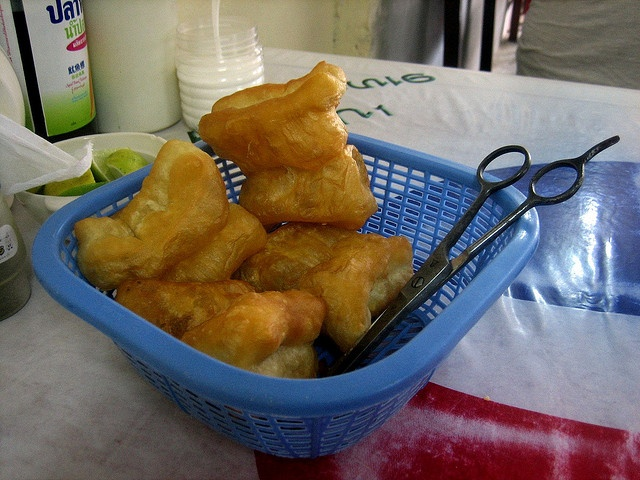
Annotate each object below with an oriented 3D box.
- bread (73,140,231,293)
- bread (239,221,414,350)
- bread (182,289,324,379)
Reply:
[{"bbox_3d":[-0.173,-0.021,0.615,0.109,0.063,0.181,34,56,11],"label":"bread"},{"bbox_3d":[0.002,0.021,0.624,0.138,0.062,0.144,21,45,24],"label":"bread"},{"bbox_3d":[-0.058,0.077,0.567,0.137,0.067,0.146,-1,16,-15],"label":"bread"}]
